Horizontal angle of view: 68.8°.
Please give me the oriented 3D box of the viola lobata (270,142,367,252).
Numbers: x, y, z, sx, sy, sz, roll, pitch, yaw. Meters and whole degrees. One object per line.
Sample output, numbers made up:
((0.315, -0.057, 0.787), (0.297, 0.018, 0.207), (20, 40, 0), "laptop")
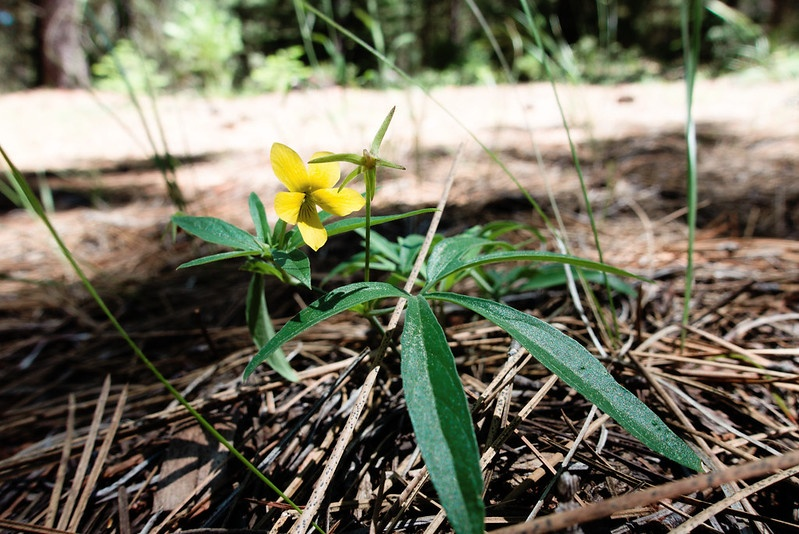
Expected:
((-0.414, -0.378, 2.946), (0.438, 0.543, 0.239), (-15, 28, -8), "viola lobata")
